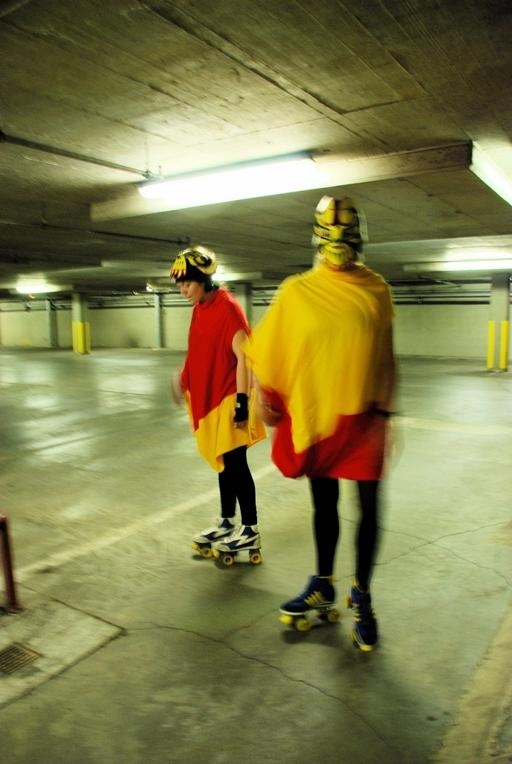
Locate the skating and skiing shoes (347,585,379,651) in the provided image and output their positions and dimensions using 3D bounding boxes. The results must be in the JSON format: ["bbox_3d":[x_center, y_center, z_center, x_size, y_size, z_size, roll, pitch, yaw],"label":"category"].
[{"bbox_3d":[0.426,0.889,2.445,0.125,0.139,0.349,-5,16,0],"label":"skating and skiing shoes"}]

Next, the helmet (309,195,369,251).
[{"bbox_3d":[0.298,-0.544,2.235,0.184,0.188,0.190,2,6,14],"label":"helmet"}]

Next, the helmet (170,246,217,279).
[{"bbox_3d":[-0.307,-0.568,3.034,0.218,0.174,0.207,-1,6,-8],"label":"helmet"}]

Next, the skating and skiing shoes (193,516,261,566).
[{"bbox_3d":[-0.160,0.815,3.264,0.434,0.190,0.168,-4,5,-43],"label":"skating and skiing shoes"}]

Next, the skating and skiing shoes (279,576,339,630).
[{"bbox_3d":[0.203,0.891,2.531,0.270,0.173,0.134,3,-9,-31],"label":"skating and skiing shoes"}]

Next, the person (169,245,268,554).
[{"bbox_3d":[-0.210,0.131,3.251,0.753,1.353,0.543,0,2,-10],"label":"person"}]

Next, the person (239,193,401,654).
[{"bbox_3d":[0.245,0.183,2.269,0.512,1.675,0.255,0,7,10],"label":"person"}]
